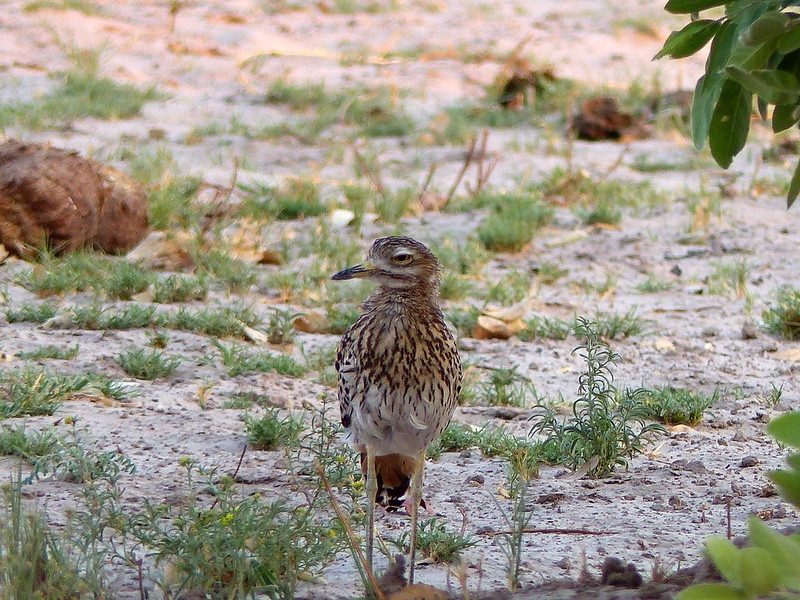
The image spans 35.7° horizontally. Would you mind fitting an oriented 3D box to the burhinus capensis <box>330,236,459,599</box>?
[{"bbox_3d":[-0.046,0.503,6.065,0.623,1.596,0.669,5,7,8],"label":"burhinus capensis"}]
